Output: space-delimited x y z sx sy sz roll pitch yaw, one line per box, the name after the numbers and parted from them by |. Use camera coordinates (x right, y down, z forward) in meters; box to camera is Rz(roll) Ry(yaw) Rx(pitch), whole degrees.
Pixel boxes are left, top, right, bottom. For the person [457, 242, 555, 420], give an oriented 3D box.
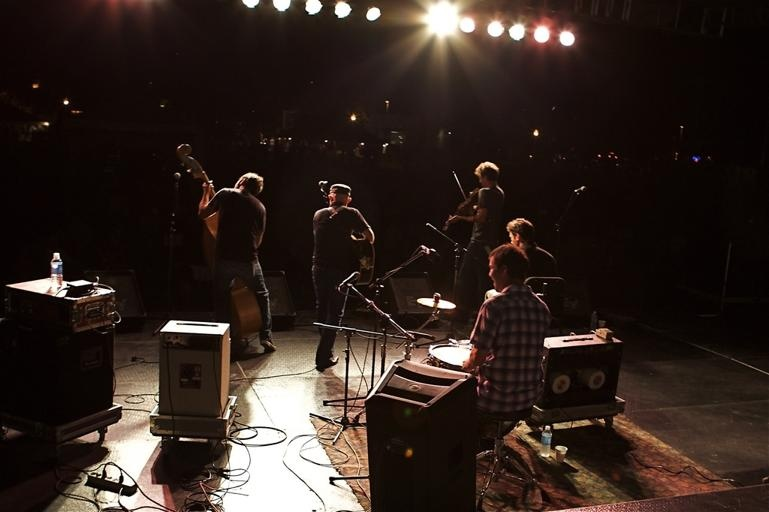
1.257 0.769 6.291 0.858 1.732 0.392 -1 2 7 | person

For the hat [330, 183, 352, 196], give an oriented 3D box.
-0.592 -0.873 8.308 0.218 0.150 0.170 -2 2 -37 | hat

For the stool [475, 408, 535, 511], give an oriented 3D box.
1.272 2.073 6.377 0.614 0.951 0.673 -1 1 11 | stool

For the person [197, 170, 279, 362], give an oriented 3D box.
-2.039 0.169 8.542 0.902 2.521 0.366 -2 2 -21 | person

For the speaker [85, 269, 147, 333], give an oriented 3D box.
-4.061 0.722 9.340 0.305 1.009 0.981 -24 -16 40 | speaker

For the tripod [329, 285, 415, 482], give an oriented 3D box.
-0.187 1.494 7.034 1.140 2.156 1.168 -1 26 -5 | tripod

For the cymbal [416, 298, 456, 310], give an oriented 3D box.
0.649 0.645 7.979 0.472 0.136 0.299 -1 1 40 | cymbal

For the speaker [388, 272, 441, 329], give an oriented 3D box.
0.447 0.727 10.321 0.858 0.818 0.218 9 -20 -39 | speaker

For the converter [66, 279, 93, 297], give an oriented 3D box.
-3.255 0.371 6.576 0.271 0.161 0.275 -2 1 -28 | converter

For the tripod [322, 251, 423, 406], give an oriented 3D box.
-0.123 1.053 7.845 1.482 1.705 1.134 10 -11 -31 | tripod

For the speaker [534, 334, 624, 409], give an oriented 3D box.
2.291 1.413 7.511 1.011 0.761 0.543 1 10 -15 | speaker

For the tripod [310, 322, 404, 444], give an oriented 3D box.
-0.355 1.548 7.259 1.166 1.319 0.854 -12 23 -36 | tripod

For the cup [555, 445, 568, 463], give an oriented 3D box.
1.962 2.209 6.825 0.148 0.155 0.150 0 3 0 | cup

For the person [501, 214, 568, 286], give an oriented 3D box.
2.210 0.006 9.303 0.590 1.299 0.745 -28 26 -23 | person

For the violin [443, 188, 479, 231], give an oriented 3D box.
1.354 -0.739 10.239 0.785 0.428 0.209 -37 3 11 | violin

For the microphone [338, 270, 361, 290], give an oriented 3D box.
-0.431 0.277 7.087 0.301 0.129 0.175 -36 -7 0 | microphone
